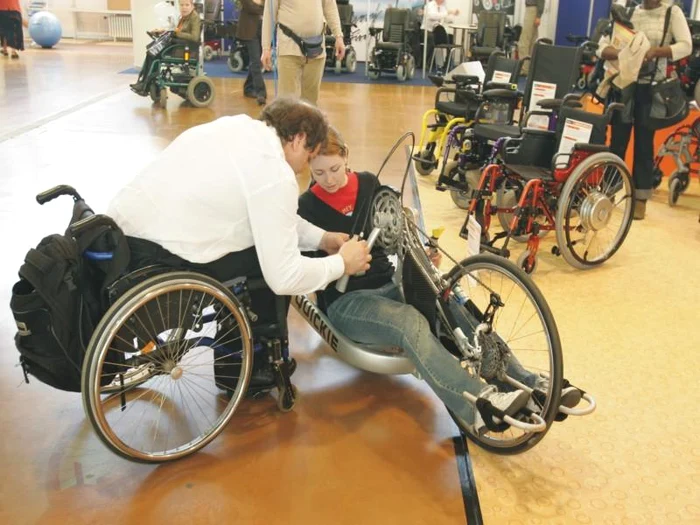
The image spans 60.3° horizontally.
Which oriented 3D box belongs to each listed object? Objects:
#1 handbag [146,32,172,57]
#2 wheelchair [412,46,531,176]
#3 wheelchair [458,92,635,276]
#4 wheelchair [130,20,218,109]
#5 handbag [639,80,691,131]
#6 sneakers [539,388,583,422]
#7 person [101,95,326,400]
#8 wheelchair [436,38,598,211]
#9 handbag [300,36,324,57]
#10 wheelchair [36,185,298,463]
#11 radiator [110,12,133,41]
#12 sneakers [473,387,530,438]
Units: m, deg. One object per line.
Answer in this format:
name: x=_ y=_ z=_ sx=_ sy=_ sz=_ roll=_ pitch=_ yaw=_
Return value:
handbag: x=-2.685 y=-3.068 z=8.445 sx=0.430 sy=0.314 sz=0.269 roll=3 pitch=23 yaw=2
wheelchair: x=1.189 y=-1.275 z=5.340 sx=0.869 sy=1.202 sz=0.763 roll=-9 pitch=15 yaw=6
wheelchair: x=1.421 y=-0.625 z=4.352 sx=0.976 sy=1.204 sz=0.838 roll=-7 pitch=22 yaw=-9
wheelchair: x=-2.518 y=-2.981 z=8.703 sx=1.159 sy=1.589 sz=0.950 roll=-6 pitch=12 yaw=-42
handbag: x=2.655 y=-1.345 z=5.133 sx=0.348 sy=0.359 sz=0.191 roll=-36 pitch=30 yaw=-22
sneakers: x=0.878 y=0.569 z=2.493 sx=0.145 sy=0.159 sz=0.059 roll=30 pitch=-9 yaw=29
person: x=-0.516 y=-0.279 z=2.721 sx=1.016 sy=1.320 sz=0.783 roll=-5 pitch=43 yaw=-27
wheelchair: x=1.147 y=-1.357 z=5.755 sx=0.934 sy=1.178 sz=0.849 roll=-4 pitch=23 yaw=-20
handbag: x=-0.328 y=-1.867 z=5.217 sx=0.145 sy=0.211 sz=0.081 roll=-4 pitch=18 yaw=-26
wheelchair: x=-0.815 y=0.102 z=2.836 sx=1.103 sy=1.265 sz=0.918 roll=-19 pitch=32 yaw=-33
radiator: x=-7.067 y=-7.188 z=18.415 sx=0.690 sy=0.787 sz=0.438 roll=-3 pitch=23 yaw=-12
sneakers: x=0.585 y=0.583 z=2.408 sx=0.219 sy=0.097 sz=0.126 roll=-32 pitch=-20 yaw=23
